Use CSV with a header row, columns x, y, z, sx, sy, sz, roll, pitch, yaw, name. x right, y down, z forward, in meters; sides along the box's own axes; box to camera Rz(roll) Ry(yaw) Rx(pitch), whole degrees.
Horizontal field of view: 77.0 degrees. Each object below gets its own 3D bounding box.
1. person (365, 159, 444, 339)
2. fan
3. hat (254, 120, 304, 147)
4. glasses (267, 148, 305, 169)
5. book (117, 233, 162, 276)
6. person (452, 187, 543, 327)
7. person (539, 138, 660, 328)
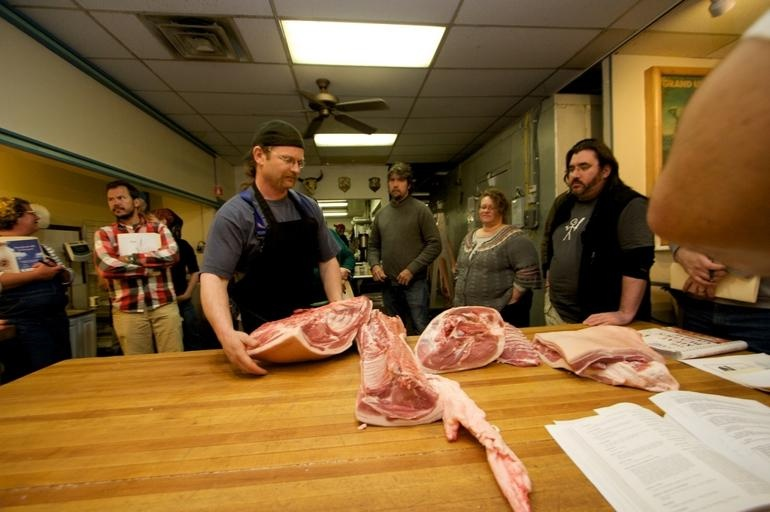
x,y,z,sx,sy,sz,roll,pitch,yaw,name
0.141,-0.087,5.180,0.789,1.780,0.460,2,7,41,person
-0.646,-1.773,5.404,1.257,0.448,1.220,-5,-6,18,fan
-0.761,-0.853,3.394,0.336,0.187,0.136,-3,5,-13,hat
-0.680,-0.689,3.388,0.258,0.140,0.083,-5,6,-36,glasses
-2.303,-0.010,4.472,0.446,0.382,0.105,-6,1,-39,book
1.010,0.022,4.425,0.821,1.277,0.453,1,6,30,person
1.663,-0.186,3.777,0.542,1.445,0.891,-4,5,-13,person
